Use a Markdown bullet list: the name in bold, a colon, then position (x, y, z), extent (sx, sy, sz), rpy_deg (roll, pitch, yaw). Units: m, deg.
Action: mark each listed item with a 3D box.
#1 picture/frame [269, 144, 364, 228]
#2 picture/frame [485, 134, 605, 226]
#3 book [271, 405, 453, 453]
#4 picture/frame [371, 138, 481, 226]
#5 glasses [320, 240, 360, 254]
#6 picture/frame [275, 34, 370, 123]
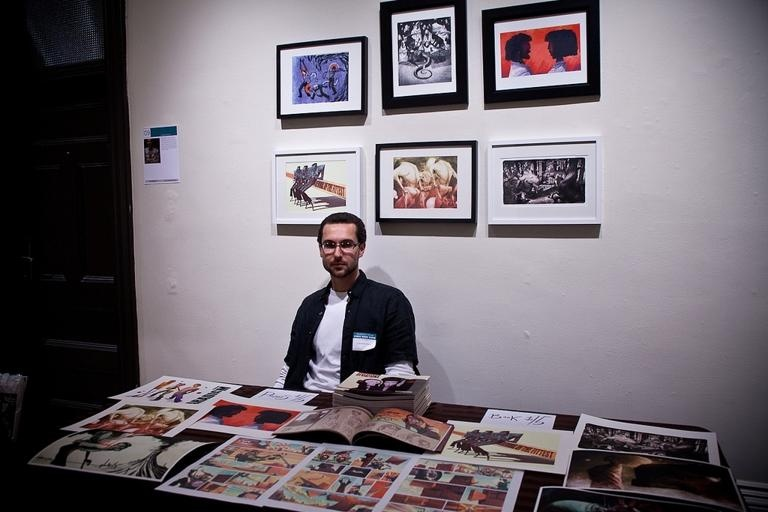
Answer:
- **picture/frame**: position (-0.386, -0.433, 3.015), extent (0.571, 0.419, 0.048), rpy_deg (3, 6, 21)
- **picture/frame**: position (0.919, -0.425, 2.723), extent (0.563, 0.413, 0.044), rpy_deg (0, 1, 17)
- **book**: position (-0.081, 0.683, 1.981), extent (0.702, 0.084, 0.232), rpy_deg (0, 8, 9)
- **picture/frame**: position (0.274, -0.438, 2.887), extent (0.568, 0.397, 0.023), rpy_deg (0, 3, 19)
- **glasses**: position (-0.236, -0.054, 2.626), extent (0.181, 0.068, 0.045), rpy_deg (-2, 8, -1)
- **picture/frame**: position (-0.352, -1.093, 3.015), extent (0.603, 0.418, 0.042), rpy_deg (2, 6, 18)
